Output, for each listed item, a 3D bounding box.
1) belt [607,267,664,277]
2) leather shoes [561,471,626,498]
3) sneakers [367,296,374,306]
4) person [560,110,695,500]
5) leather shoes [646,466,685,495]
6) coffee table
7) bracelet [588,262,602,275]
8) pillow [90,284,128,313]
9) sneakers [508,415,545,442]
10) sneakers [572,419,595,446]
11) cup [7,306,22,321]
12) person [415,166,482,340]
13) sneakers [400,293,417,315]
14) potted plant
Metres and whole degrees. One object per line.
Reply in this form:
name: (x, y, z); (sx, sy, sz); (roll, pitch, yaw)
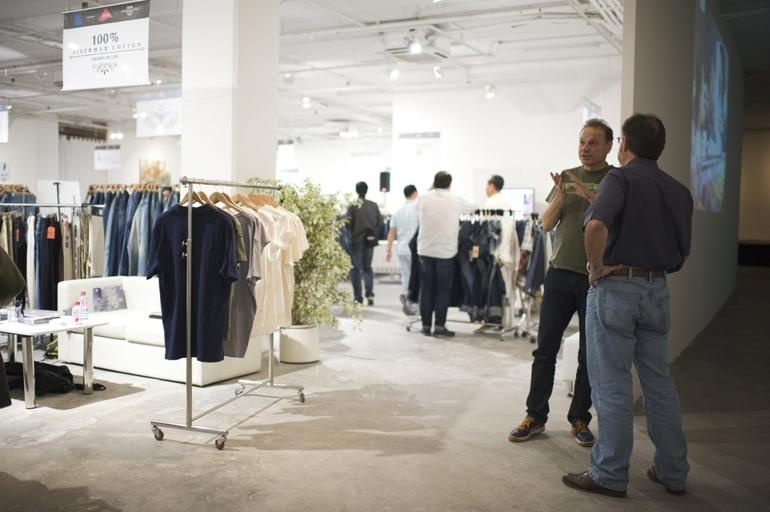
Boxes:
belt: (1.628, 0.110, 3.730); (0.368, 0.072, 0.054); (0, 9, -4)
leather shoes: (1.416, 1.506, 3.912); (0.373, 0.180, 0.141); (10, 2, 30)
sneakers: (-0.237, 0.809, 9.988); (0.104, 0.138, 0.132); (0, -8, -28)
person: (1.616, 0.478, 3.795); (0.788, 2.215, 0.379); (-1, 8, -7)
leather shoes: (1.898, 1.544, 3.921); (0.090, 0.110, 0.252); (-9, 15, -15)
coffee table: (-3.036, 0.939, 5.334); (0.977, 0.625, 0.632); (1, 1, 38)
bracelet: (1.369, 0.091, 3.776); (0.063, 0.067, 0.067); (-8, 8, 27)
pillow: (-3.068, 0.489, 6.413); (0.039, 0.218, 0.295); (-16, -10, 35)
sneakers: (1.109, 1.366, 4.560); (0.348, 0.164, 0.131); (-1, -1, -36)
sneakers: (1.518, 1.382, 4.415); (0.096, 0.098, 0.217); (0, -1, -5)
cup: (-3.499, 0.570, 5.522); (0.125, 0.184, 0.128); (-5, -9, -1)
person: (0.751, 0.004, 7.533); (0.647, 2.160, 0.358); (1, 8, 3)
sneakers: (0.311, 0.758, 8.164); (0.146, 0.450, 0.192); (-6, 41, 16)
potted plant: (-1.059, 0.184, 6.413); (1.112, 1.947, 0.975); (1, -9, -10)
